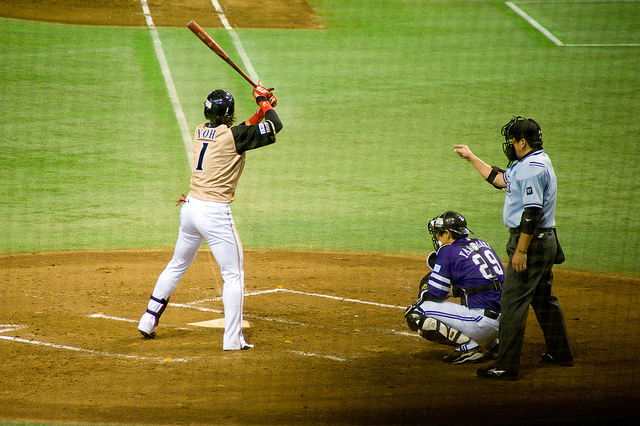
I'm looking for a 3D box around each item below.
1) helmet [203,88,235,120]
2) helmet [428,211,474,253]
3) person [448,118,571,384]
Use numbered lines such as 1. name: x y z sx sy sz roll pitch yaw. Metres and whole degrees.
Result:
1. helmet: -1.307 -1.416 11.706 0.470 0.335 0.349 18 38 34
2. helmet: 1.764 0.219 11.713 0.687 0.431 0.456 -1 7 22
3. person: 2.691 0.454 11.405 1.227 3.356 0.973 4 6 7
